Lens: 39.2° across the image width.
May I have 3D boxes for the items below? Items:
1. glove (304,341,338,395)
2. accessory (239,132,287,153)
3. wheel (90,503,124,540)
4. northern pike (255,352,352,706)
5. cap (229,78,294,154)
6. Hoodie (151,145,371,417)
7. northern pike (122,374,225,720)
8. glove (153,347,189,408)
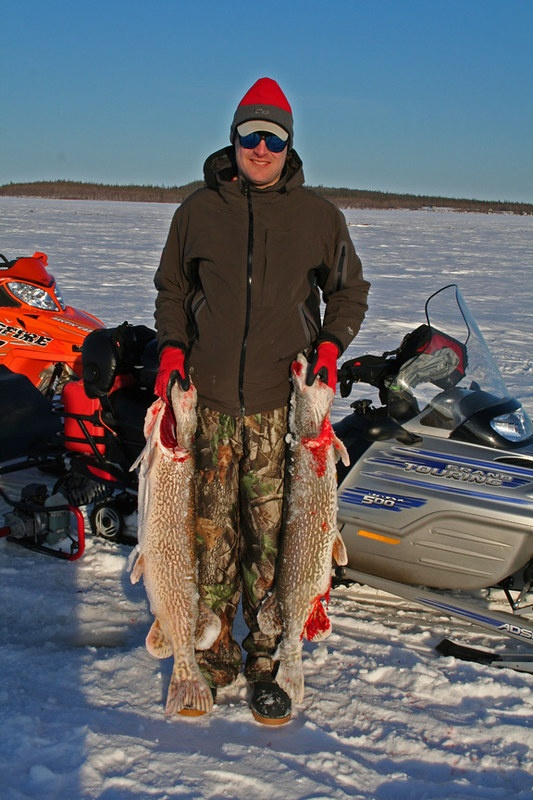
[{"bbox_3d":[0.162,-0.097,2.263,0.099,0.148,0.042,34,-33,-31],"label":"glove"},{"bbox_3d":[-0.010,-0.772,2.234,0.085,0.028,0.078,2,7,-10],"label":"accessory"},{"bbox_3d":[-0.803,0.618,3.801,0.208,0.182,0.072,7,2,29],"label":"wheel"},{"bbox_3d":[0.152,0.382,2.476,0.414,1.173,0.218,5,6,6],"label":"northern pike"},{"bbox_3d":[-0.006,-0.912,2.329,0.215,0.201,0.271,7,13,2],"label":"cap"},{"bbox_3d":[-0.005,-0.374,2.361,0.678,0.820,0.305,0,15,-8],"label":"Hoodie"},{"bbox_3d":[-0.260,0.466,2.386,0.356,1.053,0.228,-1,-2,16],"label":"northern pike"},{"bbox_3d":[-0.277,-0.073,2.301,0.107,0.171,0.064,-30,-37,23],"label":"glove"}]
